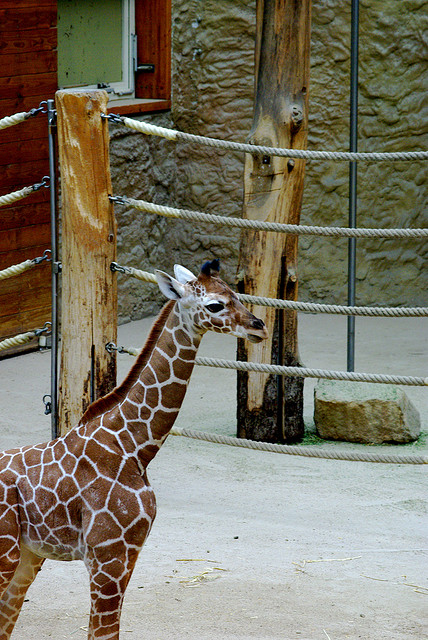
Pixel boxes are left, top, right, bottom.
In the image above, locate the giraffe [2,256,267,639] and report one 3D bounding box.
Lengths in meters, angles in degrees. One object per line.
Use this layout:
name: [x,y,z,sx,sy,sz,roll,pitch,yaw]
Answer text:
giraffe: [-0.244,0.360,4.371,0.732,1.039,0.279,-3,11,-21]
